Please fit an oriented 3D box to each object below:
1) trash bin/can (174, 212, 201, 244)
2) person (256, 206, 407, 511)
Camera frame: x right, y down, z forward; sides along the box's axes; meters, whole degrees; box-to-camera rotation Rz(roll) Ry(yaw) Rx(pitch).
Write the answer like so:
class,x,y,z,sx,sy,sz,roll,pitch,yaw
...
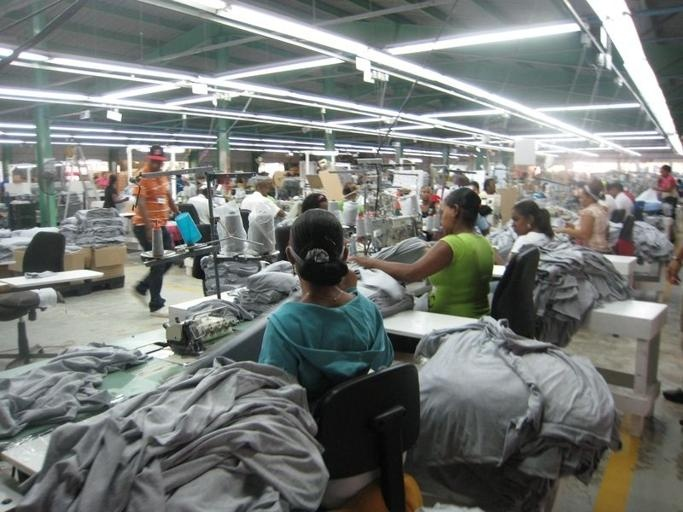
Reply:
class,x,y,z,sx,sy,sz,roll,pitch,yaw
trash bin/can,-0.883,-0.165,2.529,0.118,0.168,0.124,0,14,33
person,-0.041,0.168,1.589,0.252,0.672,0.506,5,10,44
